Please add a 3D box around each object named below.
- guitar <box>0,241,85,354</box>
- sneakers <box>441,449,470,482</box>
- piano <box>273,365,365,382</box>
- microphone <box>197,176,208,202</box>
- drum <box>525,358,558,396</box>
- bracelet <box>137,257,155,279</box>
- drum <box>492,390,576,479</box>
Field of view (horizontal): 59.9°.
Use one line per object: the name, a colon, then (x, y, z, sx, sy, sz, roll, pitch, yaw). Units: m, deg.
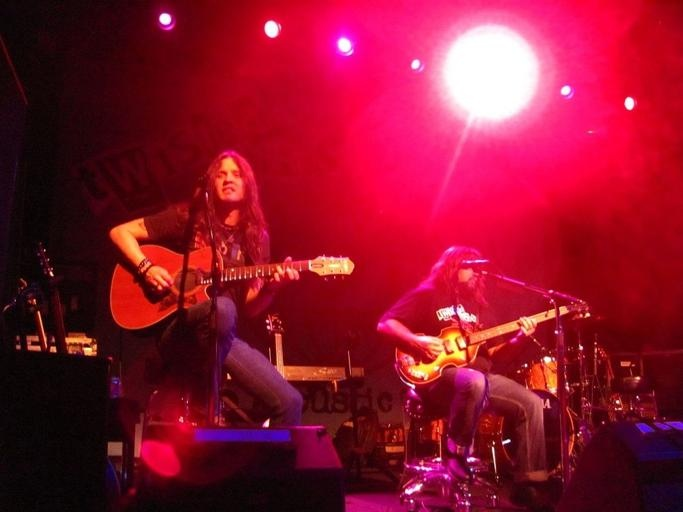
guitar: (-2.942, 0.440, 5.815, 0.486, 1.083, 0.262, 10, 26, 26)
sneakers: (1.090, 1.957, 5.564, 0.297, 0.269, 0.183, -7, -19, 31)
piano: (-0.307, 1.542, 7.756, 1.064, 0.241, 0.166, 2, -49, -26)
microphone: (-1.087, -0.541, 4.626, 0.065, 0.240, 0.124, 7, -16, -15)
drum: (2.643, 1.567, 7.837, 0.466, 0.569, 0.518, -1, -21, 17)
bracelet: (-1.581, 0.092, 4.751, 0.140, 0.113, 0.056, -43, -47, 10)
drum: (2.160, 1.770, 6.649, 0.884, 1.063, 0.997, -3, -6, 31)
